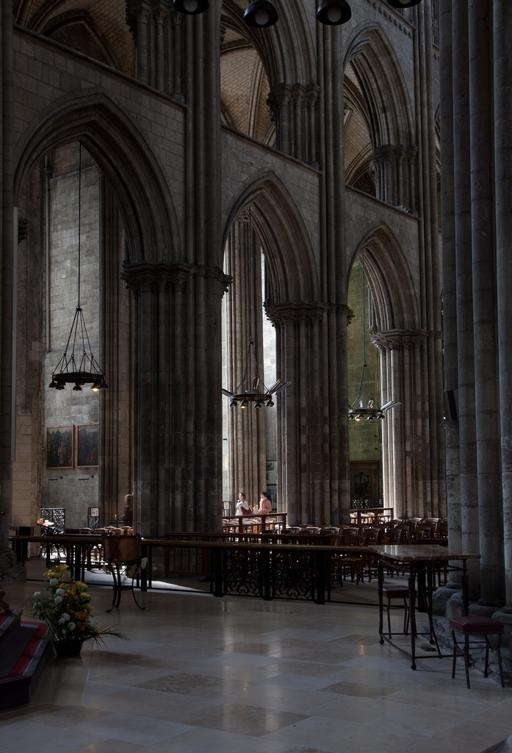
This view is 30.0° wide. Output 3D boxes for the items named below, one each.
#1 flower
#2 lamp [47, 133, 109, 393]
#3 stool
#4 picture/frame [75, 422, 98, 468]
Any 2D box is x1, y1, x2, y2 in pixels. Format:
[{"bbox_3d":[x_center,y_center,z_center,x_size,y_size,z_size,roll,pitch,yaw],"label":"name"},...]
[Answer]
[{"bbox_3d":[-1.630,2.063,8.396,0.690,0.807,0.847,6,5,-32],"label":"flower"},{"bbox_3d":[-4.718,-2.552,25.738,1.462,5.858,1.352,4,4,40],"label":"lamp"},{"bbox_3d":[1.693,2.106,7.277,0.377,0.642,0.405,2,-21,-5],"label":"stool"},{"bbox_3d":[-4.575,1.868,26.133,1.020,1.487,0.093,-8,-12,39],"label":"picture/frame"}]
